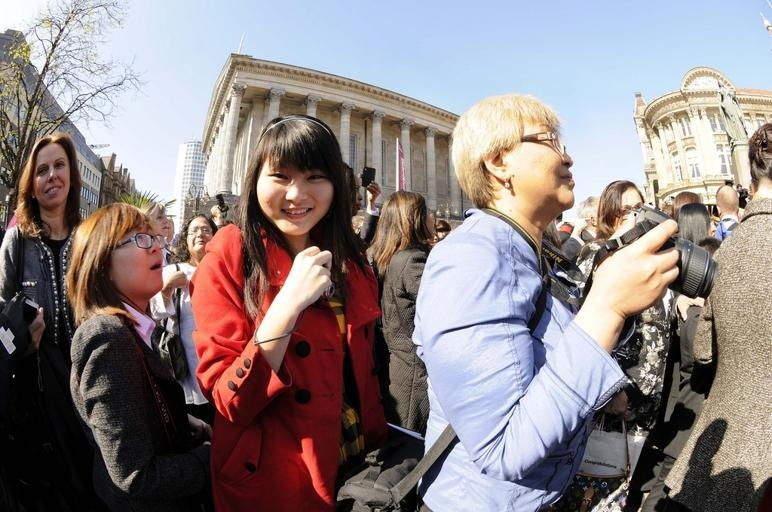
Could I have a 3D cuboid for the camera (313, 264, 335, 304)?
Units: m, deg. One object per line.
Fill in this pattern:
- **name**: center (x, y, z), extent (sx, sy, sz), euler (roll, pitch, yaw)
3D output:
- **camera**: center (-0.355, 0.157, 2.760), extent (0.081, 0.219, 0.163), euler (-4, 1, -16)
